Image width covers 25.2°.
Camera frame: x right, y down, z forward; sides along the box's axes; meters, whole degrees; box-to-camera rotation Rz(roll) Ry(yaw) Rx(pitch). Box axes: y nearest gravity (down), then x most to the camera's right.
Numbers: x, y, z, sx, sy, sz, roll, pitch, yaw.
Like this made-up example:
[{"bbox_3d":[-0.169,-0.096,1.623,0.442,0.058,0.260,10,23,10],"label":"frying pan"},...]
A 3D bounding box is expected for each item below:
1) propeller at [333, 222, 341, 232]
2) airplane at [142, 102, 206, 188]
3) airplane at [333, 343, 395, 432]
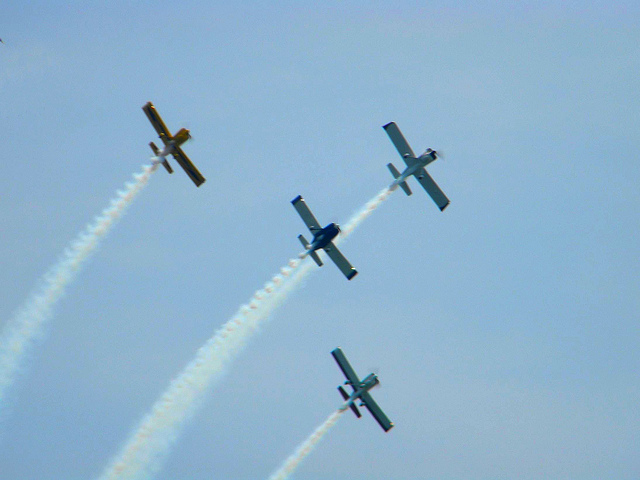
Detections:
[{"bbox_3d":[1.277,-0.710,108.589,0.255,0.752,0.877,-40,24,-21],"label":"propeller"},{"bbox_3d":[-12.187,-7.578,119.159,2.921,5.966,5.179,-4,-7,21],"label":"airplane"},{"bbox_3d":[3.628,12.720,120.706,4.813,6.791,1.675,5,-9,-44],"label":"airplane"}]
